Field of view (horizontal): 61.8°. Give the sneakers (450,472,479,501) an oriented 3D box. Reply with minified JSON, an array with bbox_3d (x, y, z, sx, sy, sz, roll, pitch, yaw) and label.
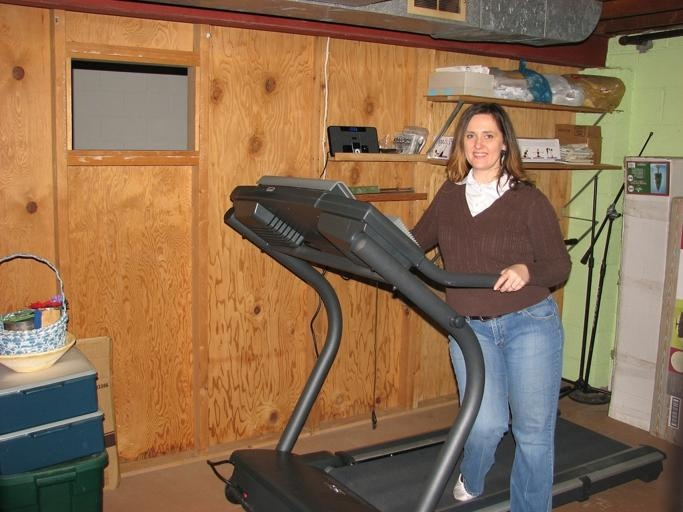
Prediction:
[{"bbox_3d":[0.643,1.212,3.053,0.077,0.146,0.159,-3,8,-39],"label":"sneakers"}]

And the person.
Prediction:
[{"bbox_3d":[0.696,0.292,2.708,0.461,1.994,0.631,-6,12,-32],"label":"person"}]
